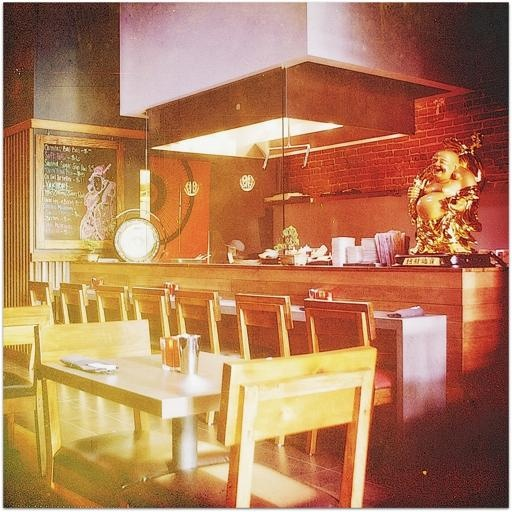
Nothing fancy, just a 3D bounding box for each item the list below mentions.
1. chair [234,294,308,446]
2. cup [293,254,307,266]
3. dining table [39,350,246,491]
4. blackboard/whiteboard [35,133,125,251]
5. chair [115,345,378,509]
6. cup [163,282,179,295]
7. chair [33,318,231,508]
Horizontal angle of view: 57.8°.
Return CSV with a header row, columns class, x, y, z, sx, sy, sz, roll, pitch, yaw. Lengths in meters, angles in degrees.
class,x,y,z,sx,sy,sz,roll,pitch,yaw
chair,-0.027,0.530,2.299,0.393,0.596,0.434,-14,-20,7
cup,0.305,0.004,3.199,0.072,0.059,0.075,2,4,0
dining table,-0.368,0.533,1.440,0.453,0.363,0.700,0,-1,-39
blackboard/whiteboard,-1.851,-0.696,4.783,0.084,1.694,1.227,-2,-2,41
chair,0.020,0.230,0.864,0.323,0.331,0.265,2,0,-35
cup,-0.591,0.209,3.260,0.080,0.143,0.079,0,-2,0
chair,-0.354,0.395,1.394,0.527,0.345,0.346,1,8,30
